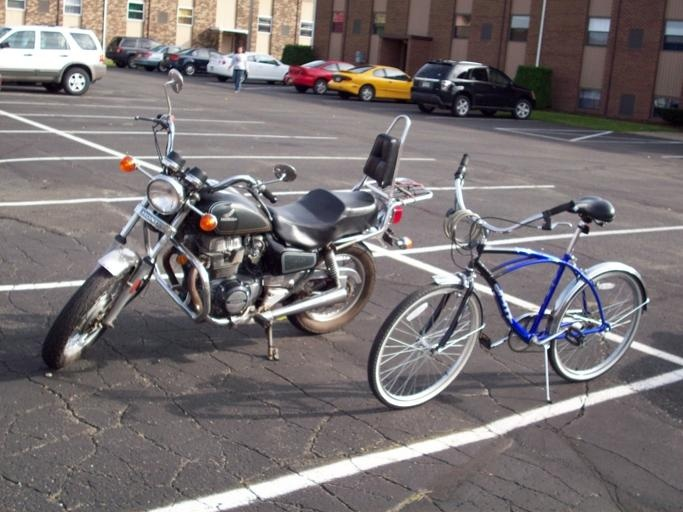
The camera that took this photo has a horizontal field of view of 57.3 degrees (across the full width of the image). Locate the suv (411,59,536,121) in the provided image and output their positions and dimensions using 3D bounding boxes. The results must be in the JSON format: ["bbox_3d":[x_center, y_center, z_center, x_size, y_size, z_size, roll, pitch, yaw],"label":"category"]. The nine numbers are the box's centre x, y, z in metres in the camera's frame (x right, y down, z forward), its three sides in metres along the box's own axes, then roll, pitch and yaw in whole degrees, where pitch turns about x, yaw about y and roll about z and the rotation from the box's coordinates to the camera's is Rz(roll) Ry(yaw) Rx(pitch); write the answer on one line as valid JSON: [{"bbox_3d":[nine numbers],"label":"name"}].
[{"bbox_3d":[5.596,-7.311,27.246,5.440,2.035,2.516,-8,22,-24],"label":"suv"}]

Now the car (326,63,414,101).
[{"bbox_3d":[1.395,-8.462,30.566,4.120,1.240,2.129,-11,24,-27],"label":"car"}]
